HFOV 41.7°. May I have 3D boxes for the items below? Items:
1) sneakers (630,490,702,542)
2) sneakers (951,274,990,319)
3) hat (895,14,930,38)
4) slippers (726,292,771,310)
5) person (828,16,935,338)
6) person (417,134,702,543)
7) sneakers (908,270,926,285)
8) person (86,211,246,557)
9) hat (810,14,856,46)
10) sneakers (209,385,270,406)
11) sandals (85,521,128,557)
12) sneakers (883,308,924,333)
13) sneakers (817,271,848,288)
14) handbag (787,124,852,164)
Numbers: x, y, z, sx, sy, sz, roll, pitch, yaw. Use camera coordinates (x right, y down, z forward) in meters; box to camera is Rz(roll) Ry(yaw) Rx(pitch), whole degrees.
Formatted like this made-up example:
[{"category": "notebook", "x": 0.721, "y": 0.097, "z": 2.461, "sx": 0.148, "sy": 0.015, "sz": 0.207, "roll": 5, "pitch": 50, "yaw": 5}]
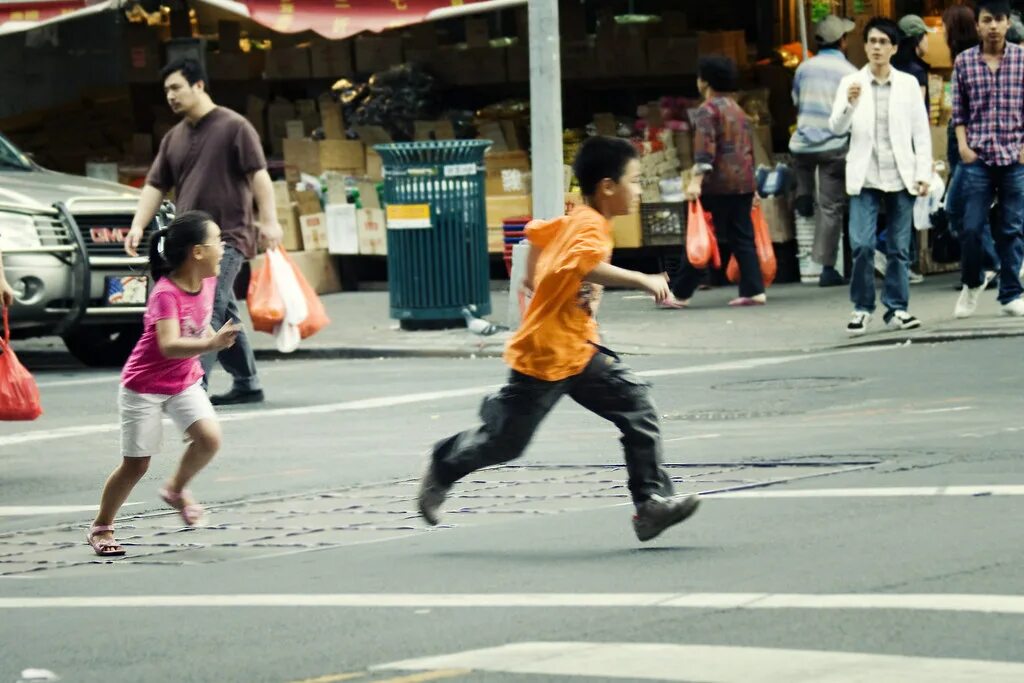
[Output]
[{"category": "sneakers", "x": 0.728, "y": 0.812, "z": 6.496, "sx": 0.156, "sy": 0.181, "sz": 0.416, "roll": 1, "pitch": -26, "yaw": -41}, {"category": "sneakers", "x": 4.267, "y": -0.415, "z": 12.540, "sx": 0.202, "sy": 0.465, "sz": 0.147, "roll": 43, "pitch": -6, "yaw": -39}, {"category": "hat", "x": 4.530, "y": -3.589, "z": 15.377, "sx": 0.387, "sy": 0.153, "sz": 0.466, "roll": 1, "pitch": 7, "yaw": 7}, {"category": "slippers", "x": 2.540, "y": -0.444, "z": 14.584, "sx": 0.427, "sy": 0.143, "sz": 0.140, "roll": 2, "pitch": -2, "yaw": 13}, {"category": "person", "x": 3.259, "y": -1.466, "z": 11.914, "sx": 0.851, "sy": 2.741, "sz": 0.667, "roll": -3, "pitch": 10, "yaw": 12}, {"category": "person", "x": 0.247, "y": 0.147, "z": 6.605, "sx": 1.292, "sy": 1.607, "sz": 0.417, "roll": 0, "pitch": 10, "yaw": 24}, {"category": "sneakers", "x": 4.661, "y": -0.746, "z": 15.591, "sx": 0.123, "sy": 0.119, "sz": 0.305, "roll": 3, "pitch": 6, "yaw": 33}, {"category": "person", "x": -1.844, "y": 0.190, "z": 6.929, "sx": 0.867, "sy": 1.657, "sz": 0.770, "roll": -7, "pitch": 10, "yaw": -16}, {"category": "hat", "x": 3.673, "y": -3.504, "z": 15.265, "sx": 0.507, "sy": 0.194, "sz": 0.351, "roll": -37, "pitch": 37, "yaw": -24}, {"category": "sneakers", "x": -2.182, "y": 0.425, "z": 10.707, "sx": 0.439, "sy": 0.170, "sz": 0.146, "roll": 2, "pitch": 1, "yaw": -11}, {"category": "sandals", "x": -2.044, "y": 1.002, "z": 6.743, "sx": 0.104, "sy": 0.102, "sz": 0.268, "roll": 0, "pitch": -2, "yaw": -30}, {"category": "sneakers", "x": 3.424, "y": -0.195, "z": 11.970, "sx": 0.147, "sy": 0.142, "sz": 0.404, "roll": -6, "pitch": 2, "yaw": -37}, {"category": "sneakers", "x": 3.744, "y": -0.741, "z": 15.860, "sx": 0.355, "sy": 0.125, "sz": 0.154, "roll": -3, "pitch": 6, "yaw": -20}, {"category": "handbag", "x": 3.362, "y": -2.226, "z": 14.941, "sx": 0.552, "sy": 0.290, "sz": 0.663, "roll": 3, "pitch": 3, "yaw": -1}]
